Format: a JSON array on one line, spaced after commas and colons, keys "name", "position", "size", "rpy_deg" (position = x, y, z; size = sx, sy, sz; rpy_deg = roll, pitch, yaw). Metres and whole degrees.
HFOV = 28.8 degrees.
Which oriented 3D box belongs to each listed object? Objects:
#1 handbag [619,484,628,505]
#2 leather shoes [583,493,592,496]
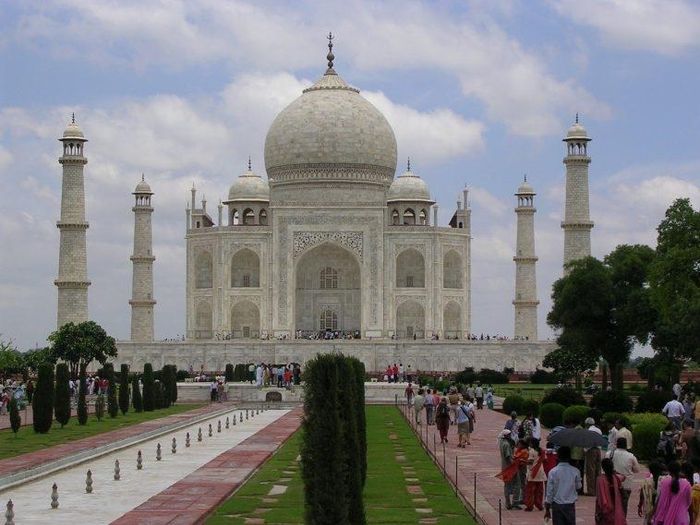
[{"name": "handbag", "position": [4.971, 4.179, 24.334], "size": [0.103, 0.317, 0.319], "rpy_deg": [-1, -7, 9]}, {"name": "leather shoes", "position": [4.684, 4.533, 26.533], "size": [0.130, 0.050, 0.044], "rpy_deg": [0, 0, -40]}]
